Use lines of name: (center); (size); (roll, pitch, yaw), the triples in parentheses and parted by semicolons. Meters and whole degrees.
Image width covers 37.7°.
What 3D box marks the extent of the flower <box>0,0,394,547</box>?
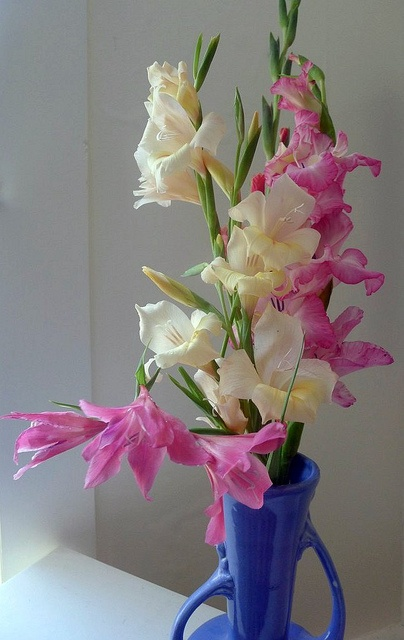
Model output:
flower: (0.052, -0.185, 0.760); (0.353, 0.876, 0.337); (20, -37, -16)
